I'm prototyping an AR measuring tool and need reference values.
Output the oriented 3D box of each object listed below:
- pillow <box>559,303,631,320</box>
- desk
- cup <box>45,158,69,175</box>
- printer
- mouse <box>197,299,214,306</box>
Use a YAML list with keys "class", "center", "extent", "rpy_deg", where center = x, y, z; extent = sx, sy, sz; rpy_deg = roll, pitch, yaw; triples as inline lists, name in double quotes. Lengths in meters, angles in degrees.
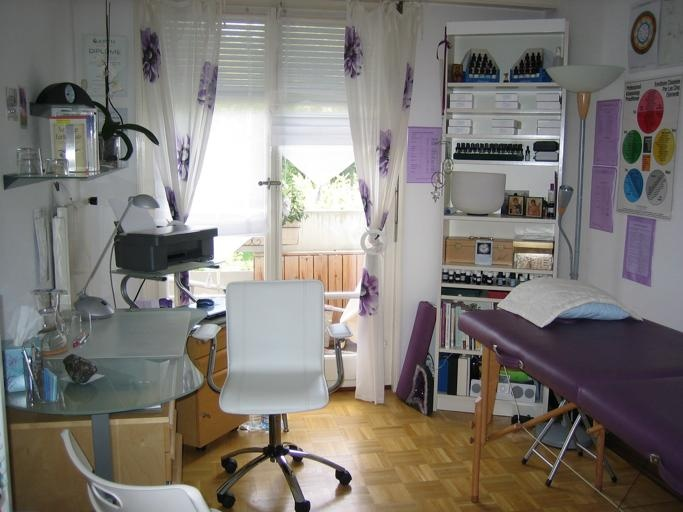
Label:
- class: "pillow"
  center: [1.395, 0.306, 2.976]
  extent: [0.175, 0.059, 0.177]
  rpy_deg: [-4, 1, 7]
- class: "desk"
  center: [-0.938, 0.831, 2.490]
  extent: [0.571, 0.281, 1.073]
  rpy_deg: [2, 13, -7]
- class: "cup"
  center: [-1.406, -0.436, 2.724]
  extent: [0.095, 0.079, 0.100]
  rpy_deg: [0, 2, 0]
- class: "printer"
  center: [-1.051, -0.043, 3.366]
  extent: [0.617, 0.233, 0.253]
  rpy_deg: [-6, 14, -24]
- class: "mouse"
  center: [-0.902, 0.314, 3.645]
  extent: [0.072, 0.024, 0.054]
  rpy_deg: [1, 6, -10]
